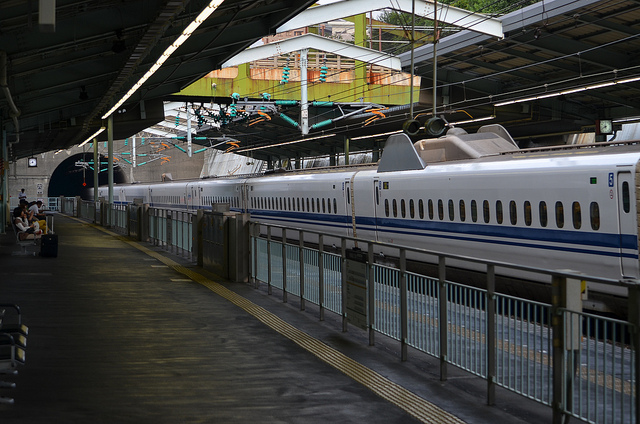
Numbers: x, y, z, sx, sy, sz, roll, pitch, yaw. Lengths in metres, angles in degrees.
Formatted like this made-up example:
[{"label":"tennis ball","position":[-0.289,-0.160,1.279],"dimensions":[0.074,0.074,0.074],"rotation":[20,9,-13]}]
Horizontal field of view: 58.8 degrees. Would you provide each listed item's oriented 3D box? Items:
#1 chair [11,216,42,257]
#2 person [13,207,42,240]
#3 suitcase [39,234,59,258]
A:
[{"label":"chair","position":[-10.376,0.876,20.147],"dimensions":[1.045,1.144,0.876],"rotation":[7,-5,-16]},{"label":"person","position":[-10.368,0.420,20.379],"dimensions":[1.144,1.422,0.658],"rotation":[-5,14,-24]},{"label":"suitcase","position":[-9.573,1.171,20.043],"dimensions":[0.555,0.792,0.587],"rotation":[-2,4,-26]}]
